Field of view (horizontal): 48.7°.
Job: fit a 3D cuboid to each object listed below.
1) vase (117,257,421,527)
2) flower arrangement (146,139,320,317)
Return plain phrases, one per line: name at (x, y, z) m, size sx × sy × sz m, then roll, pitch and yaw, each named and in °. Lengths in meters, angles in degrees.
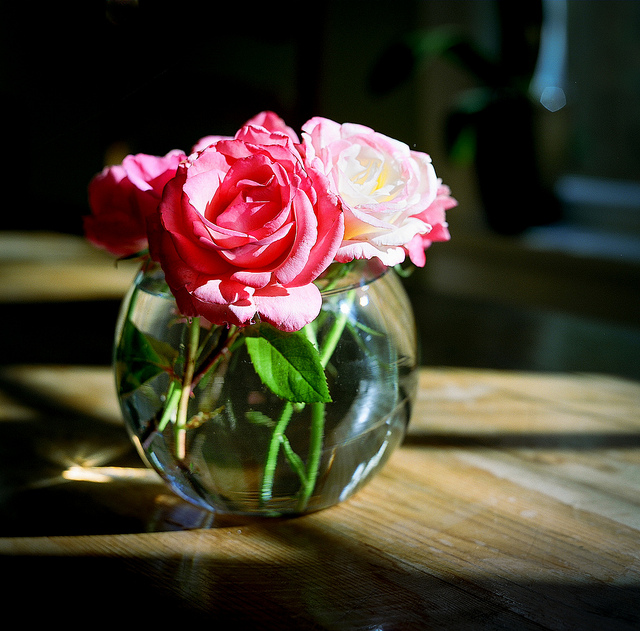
vase at (-0.031, 0.047, 0.453) m, size 0.174 × 0.129 × 0.157 m, roll -4°, pitch 15°, yaw -3°
flower arrangement at (-0.040, -0.040, 0.332) m, size 0.079 × 0.070 × 0.063 m, roll -8°, pitch 38°, yaw -13°
